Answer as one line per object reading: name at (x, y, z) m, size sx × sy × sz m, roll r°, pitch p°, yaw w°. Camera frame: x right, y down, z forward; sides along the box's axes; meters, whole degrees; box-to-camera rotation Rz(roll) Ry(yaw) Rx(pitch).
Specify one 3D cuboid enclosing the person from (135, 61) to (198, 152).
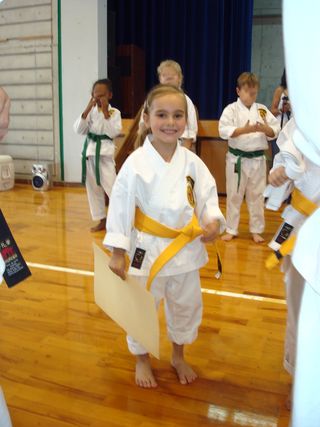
person at (0.095, -0.705, 2.828) m, size 0.348 × 1.111 × 0.408 m, roll -2°, pitch 18°, yaw 4°

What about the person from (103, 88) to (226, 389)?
person at (0.021, 0.129, 1.210) m, size 0.343 × 1.161 × 0.307 m, roll -3°, pitch 20°, yaw -5°

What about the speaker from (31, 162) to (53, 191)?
speaker at (-1.785, -0.582, 4.887) m, size 0.226 × 0.442 × 0.249 m, roll 1°, pitch 46°, yaw -21°
